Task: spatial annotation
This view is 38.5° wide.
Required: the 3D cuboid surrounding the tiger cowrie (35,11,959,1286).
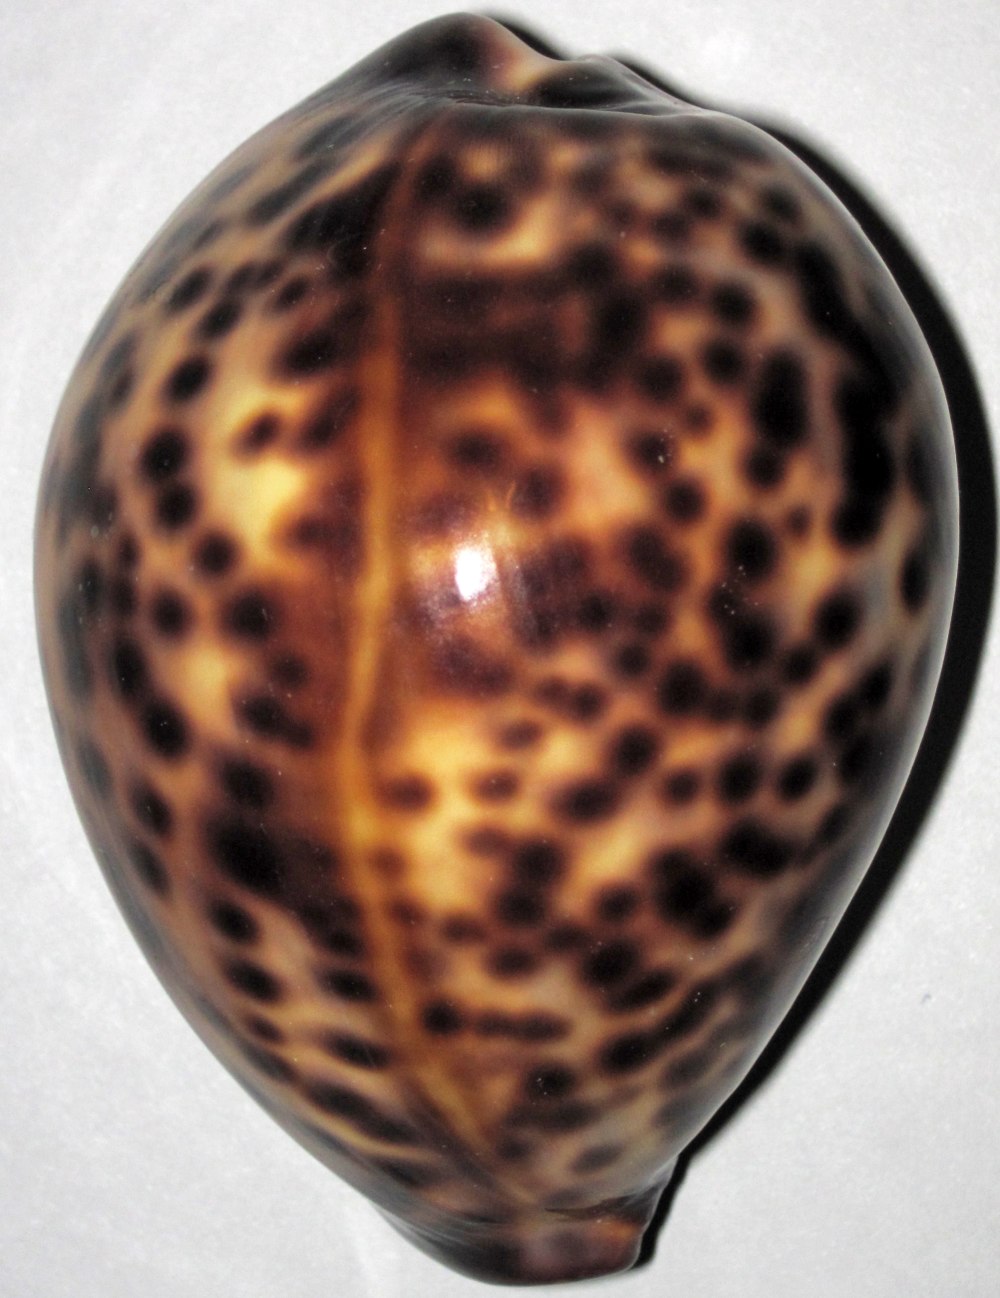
[{"bbox_3d":[0.005,0.022,0.657,0.302,0.571,0.294,2,-10,-42],"label":"tiger cowrie"}]
